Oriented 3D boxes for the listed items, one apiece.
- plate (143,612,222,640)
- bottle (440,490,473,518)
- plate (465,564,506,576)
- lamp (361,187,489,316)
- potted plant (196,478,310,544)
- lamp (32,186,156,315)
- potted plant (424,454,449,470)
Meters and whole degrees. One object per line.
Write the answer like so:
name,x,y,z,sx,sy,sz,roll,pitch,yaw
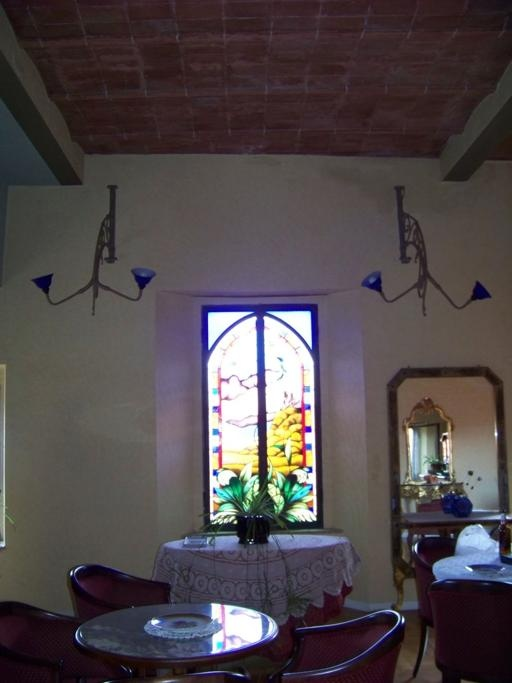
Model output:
plate,-0.270,1.067,2.625,0.283,0.039,0.305,3,-11,-9
bottle,1.357,1.091,4.725,0.134,0.115,0.168,1,-16,-4
plate,1.054,1.044,3.215,0.161,0.023,0.147,-2,-12,18
lamp,1.135,-0.667,4.993,0.879,0.974,0.476,6,-12,-43
potted plant,-0.084,1.032,4.313,0.612,0.338,0.649,-3,-6,40
lamp,-1.190,-0.623,5.057,0.895,1.048,0.471,3,-3,-45
potted plant,1.299,0.861,5.047,0.120,0.075,0.122,-2,-6,14
